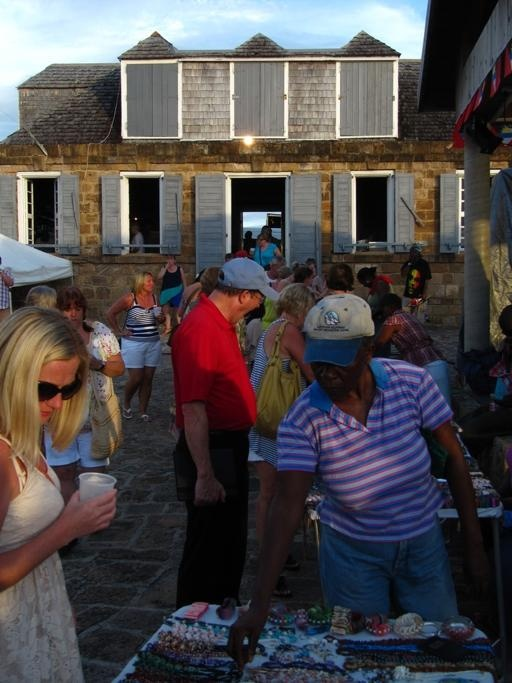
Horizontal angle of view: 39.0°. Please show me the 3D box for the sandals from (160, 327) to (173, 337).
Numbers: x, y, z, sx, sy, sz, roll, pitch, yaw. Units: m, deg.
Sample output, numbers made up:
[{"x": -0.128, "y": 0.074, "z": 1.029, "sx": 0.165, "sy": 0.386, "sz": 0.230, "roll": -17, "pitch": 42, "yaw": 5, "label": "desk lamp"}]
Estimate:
[{"x": -1.529, "y": -0.170, "z": 12.312, "sx": 0.166, "sy": 0.121, "sz": 0.392, "roll": -3, "pitch": -4, "yaw": -3, "label": "sandals"}]

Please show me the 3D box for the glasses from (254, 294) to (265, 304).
[{"x": 0.020, "y": -0.200, "z": 3.496, "sx": 0.026, "sy": 0.052, "sz": 0.041, "roll": 4, "pitch": 9, "yaw": 1, "label": "glasses"}]

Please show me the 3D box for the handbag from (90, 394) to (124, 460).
[{"x": -0.902, "y": 0.523, "z": 4.442, "sx": 0.142, "sy": 0.395, "sz": 0.295, "roll": 5, "pitch": 7, "yaw": 24, "label": "handbag"}]

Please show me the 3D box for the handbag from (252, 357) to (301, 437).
[{"x": 0.104, "y": 0.271, "z": 3.486, "sx": 0.179, "sy": 0.376, "sz": 0.277, "roll": 19, "pitch": -18, "yaw": 13, "label": "handbag"}]

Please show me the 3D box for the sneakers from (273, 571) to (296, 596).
[{"x": 0.150, "y": 1.320, "z": 3.966, "sx": 0.093, "sy": 0.109, "sz": 0.254, "roll": 3, "pitch": 7, "yaw": 3, "label": "sneakers"}]

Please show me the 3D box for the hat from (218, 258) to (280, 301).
[{"x": -0.038, "y": -0.295, "z": 3.411, "sx": 0.239, "sy": 0.137, "sz": 0.165, "roll": 10, "pitch": 20, "yaw": -26, "label": "hat"}]

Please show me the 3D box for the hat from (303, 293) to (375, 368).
[{"x": 0.246, "y": -0.035, "z": 2.141, "sx": 0.199, "sy": 0.206, "sz": 0.197, "roll": 3, "pitch": 7, "yaw": 6, "label": "hat"}]

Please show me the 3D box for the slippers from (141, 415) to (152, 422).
[{"x": -1.281, "y": 0.905, "z": 8.498, "sx": 0.054, "sy": 0.052, "sz": 0.124, "roll": -1, "pitch": 7, "yaw": 0, "label": "slippers"}]

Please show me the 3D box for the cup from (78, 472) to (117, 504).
[{"x": -0.424, "y": 0.375, "z": 1.929, "sx": 0.094, "sy": 0.059, "sz": 0.175, "roll": 1, "pitch": 8, "yaw": -13, "label": "cup"}]
